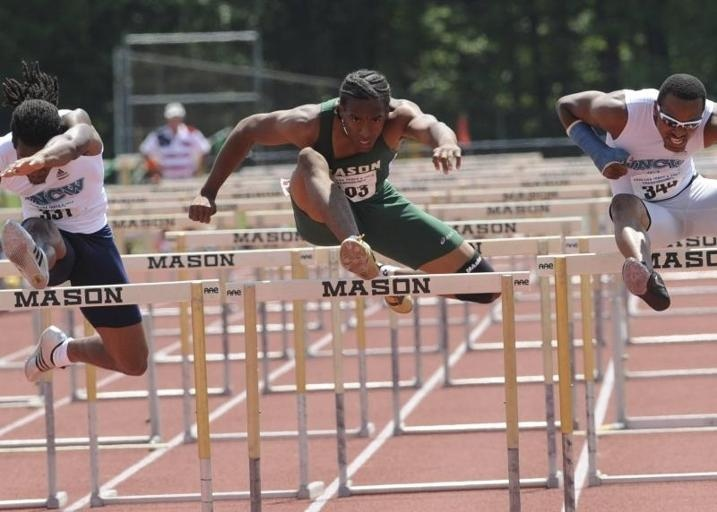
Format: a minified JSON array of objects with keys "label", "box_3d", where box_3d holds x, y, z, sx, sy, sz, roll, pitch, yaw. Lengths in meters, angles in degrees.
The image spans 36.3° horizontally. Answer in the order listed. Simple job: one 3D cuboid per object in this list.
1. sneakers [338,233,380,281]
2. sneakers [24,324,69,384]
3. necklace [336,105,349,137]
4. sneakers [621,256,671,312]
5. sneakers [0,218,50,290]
[{"label":"sneakers","box_3d":[0.015,0.022,7.703,0.189,0.361,0.183,-24,16,30]},{"label":"sneakers","box_3d":[-2.489,0.795,8.602,0.267,0.208,0.584,-15,-21,-34]},{"label":"necklace","box_3d":[-0.122,-0.989,8.106,0.050,0.193,0.145,-28,24,9]},{"label":"sneakers","box_3d":[2.034,0.197,7.821,0.213,0.475,0.232,-31,8,35]},{"label":"sneakers","box_3d":[-2.358,-0.007,7.832,0.230,0.581,0.244,-31,2,5]}]
